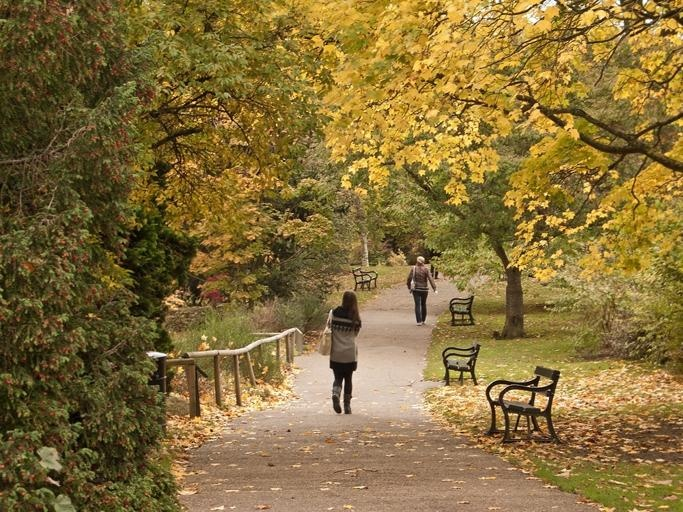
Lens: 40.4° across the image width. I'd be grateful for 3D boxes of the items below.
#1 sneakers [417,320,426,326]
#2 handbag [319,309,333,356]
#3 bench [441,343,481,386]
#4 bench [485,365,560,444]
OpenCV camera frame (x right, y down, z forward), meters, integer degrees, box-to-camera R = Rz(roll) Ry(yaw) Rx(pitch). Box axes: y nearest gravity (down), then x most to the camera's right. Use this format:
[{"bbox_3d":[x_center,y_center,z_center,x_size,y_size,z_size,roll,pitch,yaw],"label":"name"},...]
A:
[{"bbox_3d":[2.354,2.020,27.609,0.234,0.097,0.309,-5,2,-6],"label":"sneakers"},{"bbox_3d":[-0.236,1.216,14.667,0.233,0.702,0.506,-2,-2,-1],"label":"handbag"},{"bbox_3d":[2.273,2.023,17.570,0.733,0.617,1.036,-2,0,8],"label":"bench"},{"bbox_3d":[2.471,2.032,12.718,0.959,0.893,1.007,1,-3,-8],"label":"bench"}]
